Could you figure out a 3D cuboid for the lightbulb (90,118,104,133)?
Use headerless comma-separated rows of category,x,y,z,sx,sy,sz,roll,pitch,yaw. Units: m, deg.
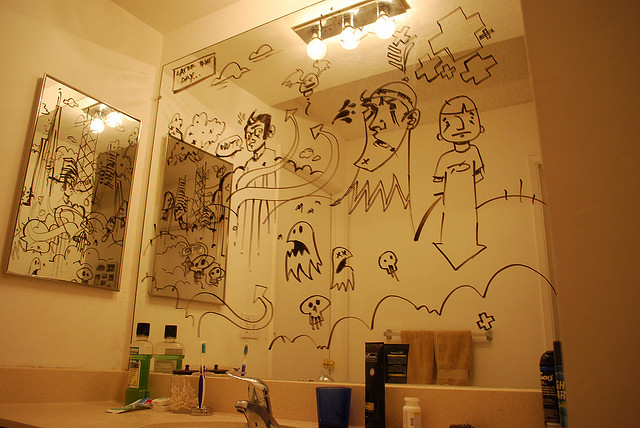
lightbulb,-1.130,-0.450,2.272,0.061,0.079,0.062,-8,13,-31

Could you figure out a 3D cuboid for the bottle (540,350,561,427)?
bottle,0.692,0.524,1.352,0.043,0.219,0.048,-5,-20,26

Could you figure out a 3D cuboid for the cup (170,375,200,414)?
cup,-0.561,0.756,1.903,0.140,0.151,0.081,-6,-8,16

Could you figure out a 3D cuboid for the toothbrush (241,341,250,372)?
toothbrush,-0.302,0.570,1.819,0.029,0.118,0.166,6,-19,-8

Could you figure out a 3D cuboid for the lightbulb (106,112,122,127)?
lightbulb,-1.078,-0.495,2.347,0.043,0.070,0.070,10,-33,43
